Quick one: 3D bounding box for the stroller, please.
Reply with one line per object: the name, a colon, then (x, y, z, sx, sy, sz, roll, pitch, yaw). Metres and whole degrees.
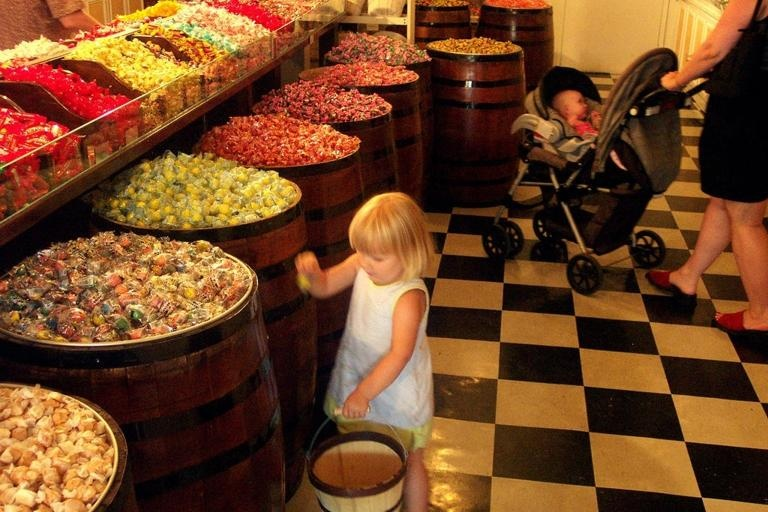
stroller: (1.182, -0.542, 3.292, 0.724, 1.234, 1.060, -16, 25, -29)

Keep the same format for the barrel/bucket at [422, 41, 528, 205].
barrel/bucket: (0.621, -0.951, 4.121, 0.787, 0.986, 0.761, 2, 20, -1)

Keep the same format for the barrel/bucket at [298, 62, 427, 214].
barrel/bucket: (-0.111, -0.693, 3.324, 0.762, 1.044, 0.781, -1, 29, 0)

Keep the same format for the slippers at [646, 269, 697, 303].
slippers: (1.642, 0.175, 3.175, 0.107, 0.093, 0.262, -22, 40, -26)

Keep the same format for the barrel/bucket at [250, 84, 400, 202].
barrel/bucket: (-0.241, -0.539, 2.747, 0.604, 0.553, 0.585, -2, 21, 1)
